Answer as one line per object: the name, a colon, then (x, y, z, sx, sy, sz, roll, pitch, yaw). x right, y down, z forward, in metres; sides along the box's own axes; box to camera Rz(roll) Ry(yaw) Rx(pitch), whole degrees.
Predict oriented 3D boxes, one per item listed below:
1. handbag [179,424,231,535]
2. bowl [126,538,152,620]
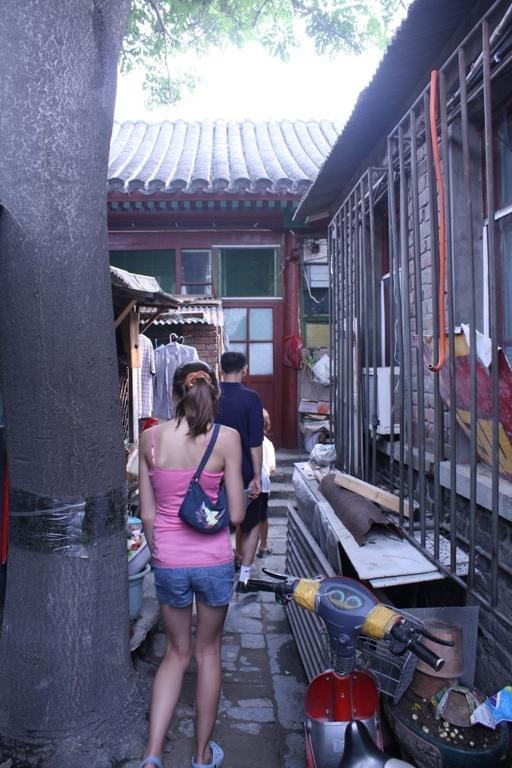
handbag: (-0.214, 0.377, 2.455, 0.173, 0.514, 0.120, 27, -29, -35)
bowl: (-0.678, 1.217, 3.770, 0.265, 0.302, 0.328, 0, -2, -8)
